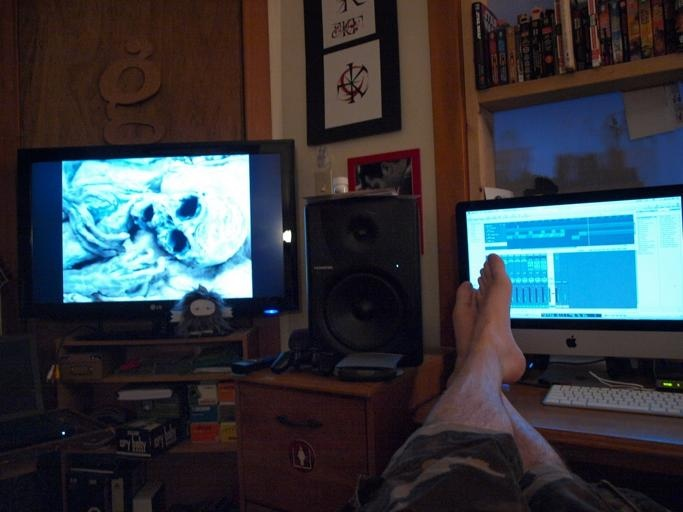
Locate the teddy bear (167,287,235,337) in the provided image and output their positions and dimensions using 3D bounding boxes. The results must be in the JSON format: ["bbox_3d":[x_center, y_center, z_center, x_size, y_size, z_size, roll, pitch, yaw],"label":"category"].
[{"bbox_3d":[-0.550,0.216,2.697,0.240,0.172,0.147,-1,3,5],"label":"teddy bear"}]

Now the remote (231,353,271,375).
[{"bbox_3d":[-0.309,0.362,2.256,0.049,0.043,0.187,3,5,32],"label":"remote"}]

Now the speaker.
[{"bbox_3d":[0.091,0.093,2.338,0.417,0.580,0.351,-3,-3,2],"label":"speaker"}]
